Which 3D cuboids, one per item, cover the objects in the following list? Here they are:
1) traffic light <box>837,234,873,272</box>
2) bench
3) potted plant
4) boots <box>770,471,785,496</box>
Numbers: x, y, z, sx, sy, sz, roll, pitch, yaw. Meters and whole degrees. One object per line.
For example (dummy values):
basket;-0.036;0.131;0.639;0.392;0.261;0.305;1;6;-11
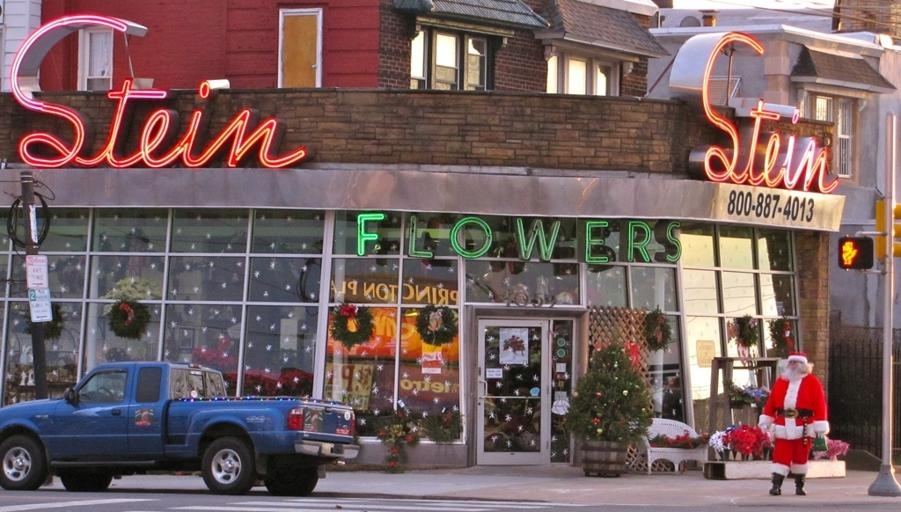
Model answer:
traffic light;10.012;-0.099;37.461;0.829;0.868;0.795;-3;-8;21
bench;5.499;5.184;40.152;1.967;1.599;1.461;2;0;-14
potted plant;4.227;3.970;39.341;2.187;3.215;1.656;1;1;16
boots;7.687;5.376;35.857;0.446;0.510;0.412;2;-8;-15
